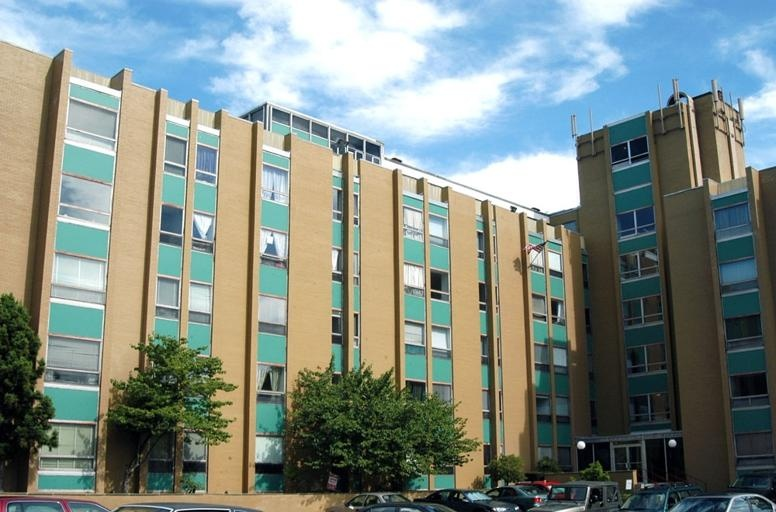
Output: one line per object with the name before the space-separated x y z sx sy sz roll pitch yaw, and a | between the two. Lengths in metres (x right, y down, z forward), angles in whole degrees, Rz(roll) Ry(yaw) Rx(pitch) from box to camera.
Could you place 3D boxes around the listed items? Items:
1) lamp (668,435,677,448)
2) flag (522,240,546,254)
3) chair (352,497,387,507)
lamp | 20.182 13.153 59.288 0.693 0.750 1.955 -7 -24 16
flag | 11.541 -0.657 65.700 2.084 1.400 0.627 18 -28 -36
chair | -1.015 13.204 45.130 1.686 0.619 0.485 -17 -28 36
